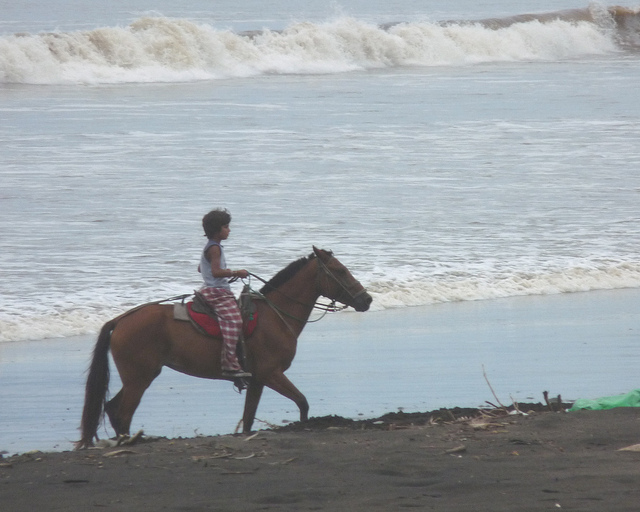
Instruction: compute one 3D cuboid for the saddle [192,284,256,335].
[{"bbox_3d":[-2.657,1.345,46.487,1.316,1.246,1.668,16,18,41],"label":"saddle"}]
